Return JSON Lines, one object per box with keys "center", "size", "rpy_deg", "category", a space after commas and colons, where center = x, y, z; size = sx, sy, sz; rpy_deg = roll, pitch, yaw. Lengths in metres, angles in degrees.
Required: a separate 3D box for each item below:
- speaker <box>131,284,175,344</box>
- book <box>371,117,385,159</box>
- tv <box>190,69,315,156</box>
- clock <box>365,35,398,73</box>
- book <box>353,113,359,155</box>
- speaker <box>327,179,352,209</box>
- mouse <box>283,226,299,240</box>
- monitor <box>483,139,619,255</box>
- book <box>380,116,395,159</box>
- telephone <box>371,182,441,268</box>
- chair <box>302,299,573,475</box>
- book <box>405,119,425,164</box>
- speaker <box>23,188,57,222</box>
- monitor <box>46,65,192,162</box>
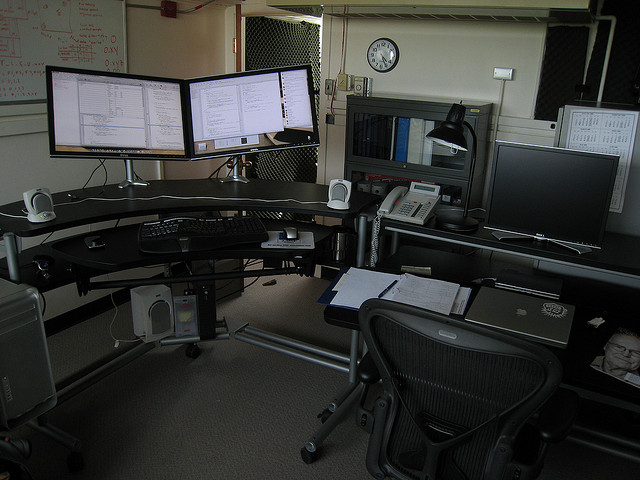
{"center": [-1.024, 0.469, 2.989], "size": [0.217, 0.288, 0.198], "rpy_deg": [1, -4, -32], "category": "speaker"}
{"center": [0.458, -0.792, 3.725], "size": [0.022, 0.302, 0.132], "rpy_deg": [8, 7, 41], "category": "book"}
{"center": [-0.397, -0.745, 2.807], "size": [0.523, 0.297, 0.021], "rpy_deg": [-8, 14, -4], "category": "tv"}
{"center": [0.505, -1.494, 3.914], "size": [0.294, 0.273, 0.032], "rpy_deg": [13, 25, 36], "category": "clock"}
{"center": [0.280, -0.824, 3.762], "size": [0.048, 0.315, 0.015], "rpy_deg": [4, 18, 13], "category": "book"}
{"center": [0.105, -0.249, 2.610], "size": [0.133, 0.145, 0.150], "rpy_deg": [4, 20, 13], "category": "speaker"}
{"center": [-0.153, -0.034, 2.541], "size": [0.081, 0.051, 0.108], "rpy_deg": [-1, 17, -2], "category": "mouse"}
{"center": [1.073, -0.192, 2.240], "size": [0.492, 0.415, 0.144], "rpy_deg": [13, 24, 23], "category": "monitor"}
{"center": [0.509, -0.773, 3.665], "size": [0.107, 0.310, 0.018], "rpy_deg": [9, 20, 27], "category": "book"}
{"center": [0.416, -0.145, 2.516], "size": [0.479, 0.104, 0.295], "rpy_deg": [-38, 48, -21], "category": "telephone"}
{"center": [0.463, 0.451, 1.867], "size": [0.746, 0.785, 0.710], "rpy_deg": [10, 37, 22], "category": "chair"}
{"center": [0.704, -0.745, 3.581], "size": [0.172, 0.288, 0.255], "rpy_deg": [6, 18, 19], "category": "book"}
{"center": [-1.329, -0.160, 2.298], "size": [0.121, 0.171, 0.147], "rpy_deg": [12, 20, 26], "category": "speaker"}
{"center": [-1.096, -0.677, 2.635], "size": [0.726, 0.477, 0.056], "rpy_deg": [-2, 4, -26], "category": "monitor"}
